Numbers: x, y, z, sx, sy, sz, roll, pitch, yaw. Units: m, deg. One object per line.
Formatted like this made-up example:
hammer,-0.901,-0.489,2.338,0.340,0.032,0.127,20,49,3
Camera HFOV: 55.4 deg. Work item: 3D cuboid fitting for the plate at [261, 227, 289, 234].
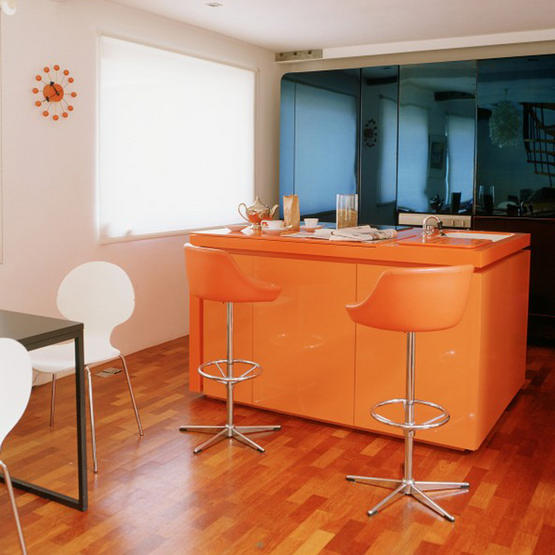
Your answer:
plate,-0.013,-0.295,3.328,0.075,0.034,0.093,4,8,25

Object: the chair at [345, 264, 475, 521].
chair,0.586,0.443,2.354,0.541,1.027,0.649,3,7,20

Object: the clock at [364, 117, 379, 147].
clock,0.950,-1.479,5.419,0.163,0.297,0.008,5,9,33

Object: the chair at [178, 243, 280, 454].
chair,-0.258,0.349,2.965,0.562,1.076,0.731,-2,7,-20

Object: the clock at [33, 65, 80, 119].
clock,-1.542,-1.288,3.690,0.047,0.386,0.380,4,7,25

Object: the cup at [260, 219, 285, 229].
cup,-0.023,-0.334,3.313,0.110,0.045,0.070,-2,7,-6

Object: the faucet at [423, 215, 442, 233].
faucet,0.861,-0.300,2.946,0.134,0.112,0.099,-1,9,12

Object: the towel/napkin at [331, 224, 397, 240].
towel/napkin,0.501,-0.259,3.068,0.315,0.078,0.450,4,7,29

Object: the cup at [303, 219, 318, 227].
cup,0.210,-0.343,3.304,0.067,0.037,0.068,0,7,0
